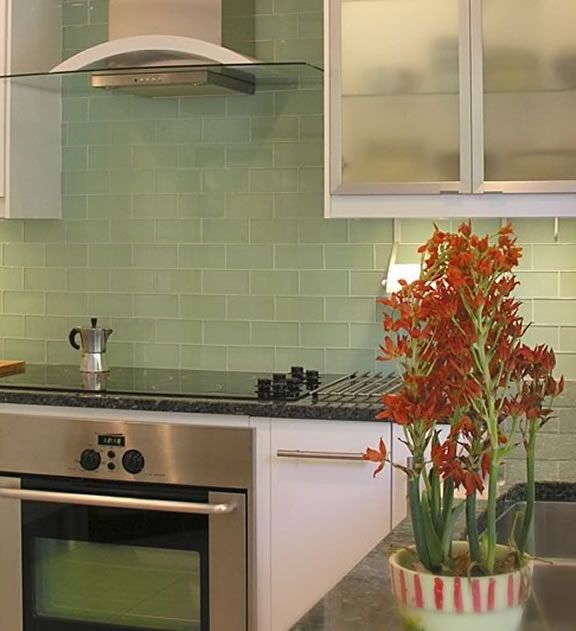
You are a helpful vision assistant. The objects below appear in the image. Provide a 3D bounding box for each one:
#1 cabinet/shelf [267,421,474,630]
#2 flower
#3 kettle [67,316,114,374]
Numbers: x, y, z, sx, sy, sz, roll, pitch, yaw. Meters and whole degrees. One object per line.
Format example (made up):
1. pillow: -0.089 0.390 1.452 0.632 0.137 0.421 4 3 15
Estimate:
1. cabinet/shelf: 0.209 0.544 2.209 0.564 0.536 0.399 0 5 10
2. flower: 0.161 0.080 0.651 0.161 0.306 0.127 2 11 8
3. kettle: -0.708 0.104 2.636 0.165 0.180 0.109 2 0 -43
